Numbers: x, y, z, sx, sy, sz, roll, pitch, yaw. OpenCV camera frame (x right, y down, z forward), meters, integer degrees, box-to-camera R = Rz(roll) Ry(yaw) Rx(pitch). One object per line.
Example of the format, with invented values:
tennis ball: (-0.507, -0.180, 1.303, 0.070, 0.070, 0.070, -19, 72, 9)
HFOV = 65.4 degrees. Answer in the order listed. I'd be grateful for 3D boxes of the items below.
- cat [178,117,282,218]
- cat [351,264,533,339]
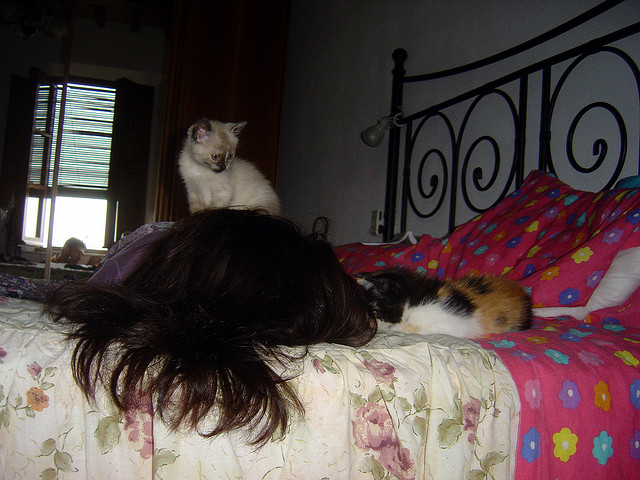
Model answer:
cat: (-0.605, -0.496, 3.298, 0.340, 0.782, 0.600, 36, 39, 29)
cat: (0.322, 0.147, 1.389, 0.420, 0.249, 0.214, 7, 11, -2)
